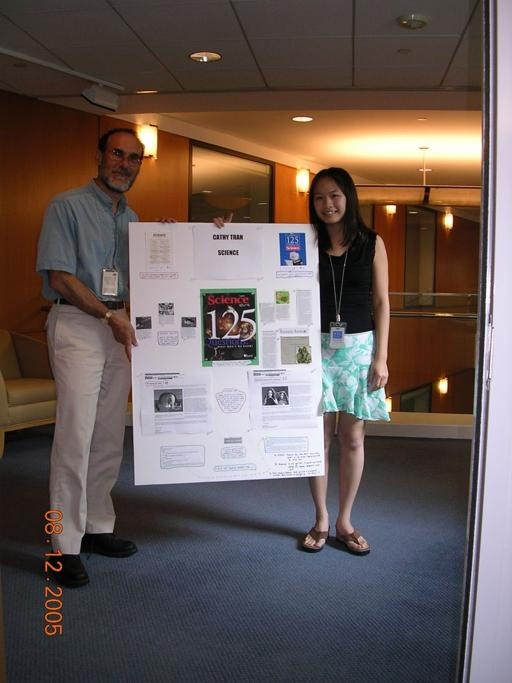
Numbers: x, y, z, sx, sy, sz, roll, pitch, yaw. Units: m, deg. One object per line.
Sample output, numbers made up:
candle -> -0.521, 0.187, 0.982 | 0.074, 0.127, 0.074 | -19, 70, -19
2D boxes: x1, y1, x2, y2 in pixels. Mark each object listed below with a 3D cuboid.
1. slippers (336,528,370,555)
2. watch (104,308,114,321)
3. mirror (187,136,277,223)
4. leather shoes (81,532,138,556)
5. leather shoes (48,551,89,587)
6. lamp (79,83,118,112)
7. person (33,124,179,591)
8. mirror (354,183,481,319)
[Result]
slippers -> 0.417, 0.855, 2.331 | 0.060, 0.050, 0.140 | -3, -3, -22
watch -> -0.541, -0.095, 1.986 | 0.028, 0.036, 0.037 | 4, -23, -34
mirror -> -0.287, -1.815, 6.512 | 1.274, 0.794, 0.027 | -6, 16, -40
leather shoes -> -0.602, 0.841, 2.304 | 0.248, 0.101, 0.092 | 3, 1, 2
leather shoes -> -0.720, 0.849, 2.065 | 0.080, 0.100, 0.234 | 4, -6, -35
lamp -> -0.982, -1.554, 3.432 | 0.122, 0.135, 0.216 | 2, 2, 33
person -> -0.646, 0.027, 2.128 | 0.391, 1.745, 0.368 | 0, 2, -13
mirror -> 1.727, -0.836, 5.547 | 1.155, 1.155, 0.027 | 5, -9, -1
